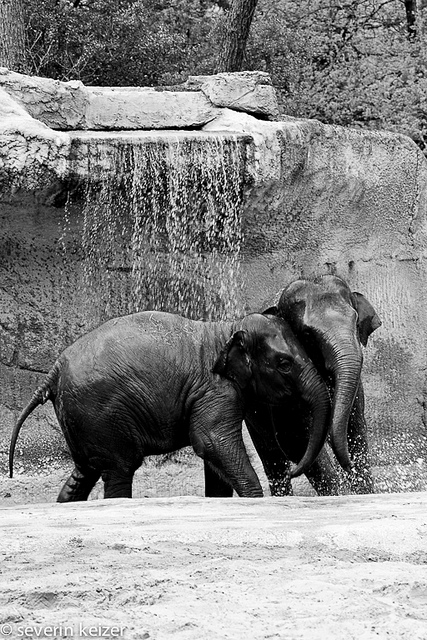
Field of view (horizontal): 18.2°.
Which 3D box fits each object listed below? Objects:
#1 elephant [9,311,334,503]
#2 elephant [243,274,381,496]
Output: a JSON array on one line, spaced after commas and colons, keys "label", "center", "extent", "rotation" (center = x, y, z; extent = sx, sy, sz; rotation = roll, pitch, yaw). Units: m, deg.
[{"label": "elephant", "center": [-0.128, 0.437, 6.969], "extent": [1.770, 1.189, 0.772], "rotation": [-3, -1, -8]}, {"label": "elephant", "center": [0.577, 0.441, 7.058], "extent": [0.653, 1.133, 1.474], "rotation": [-9, -11, -5]}]
